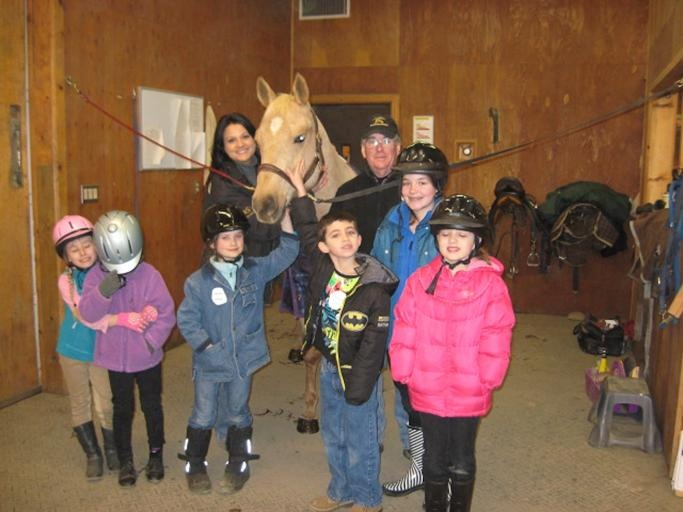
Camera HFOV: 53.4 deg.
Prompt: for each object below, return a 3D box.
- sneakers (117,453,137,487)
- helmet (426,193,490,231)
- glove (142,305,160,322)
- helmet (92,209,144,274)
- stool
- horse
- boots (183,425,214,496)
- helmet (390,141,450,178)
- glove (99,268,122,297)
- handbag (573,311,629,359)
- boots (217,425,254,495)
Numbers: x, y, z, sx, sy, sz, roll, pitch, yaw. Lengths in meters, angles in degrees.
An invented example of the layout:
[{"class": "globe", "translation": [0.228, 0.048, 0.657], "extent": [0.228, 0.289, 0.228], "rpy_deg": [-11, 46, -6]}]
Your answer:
[{"class": "sneakers", "translation": [-1.293, 1.291, 4.033], "extent": [0.070, 0.090, 0.213], "rpy_deg": [1, 1, -15]}, {"class": "helmet", "translation": [0.643, -0.239, 3.665], "extent": [0.300, 0.218, 0.437], "rpy_deg": [6, -3, 24]}, {"class": "glove", "translation": [-1.130, 0.342, 3.985], "extent": [0.092, 0.075, 0.030], "rpy_deg": [5, 20, 34]}, {"class": "helmet", "translation": [-1.263, -0.058, 4.016], "extent": [0.240, 0.246, 0.391], "rpy_deg": [-23, 21, 19]}, {"class": "stool", "translation": [1.881, 1.063, 4.485], "extent": [0.317, 0.285, 0.472], "rpy_deg": [3, 22, 14]}, {"class": "horse", "translation": [-0.254, -0.375, 5.310], "extent": [0.583, 2.123, 2.477], "rpy_deg": [5, 19, 7]}, {"class": "boots", "translation": [-0.858, 1.185, 4.016], "extent": [0.153, 0.388, 0.164], "rpy_deg": [-1, 5, -16]}, {"class": "helmet", "translation": [0.459, -0.551, 3.886], "extent": [0.287, 0.222, 0.417], "rpy_deg": [2, 2, 23]}, {"class": "glove", "translation": [-1.333, 0.166, 3.954], "extent": [0.109, 0.139, 0.139], "rpy_deg": [42, -10, -7]}, {"class": "handbag", "translation": [2.316, 0.689, 6.058], "extent": [0.436, 0.311, 0.522], "rpy_deg": [1, 7, 9]}, {"class": "boots", "translation": [-0.635, 1.196, 4.039], "extent": [0.151, 0.362, 0.361], "rpy_deg": [6, 8, 11]}]
